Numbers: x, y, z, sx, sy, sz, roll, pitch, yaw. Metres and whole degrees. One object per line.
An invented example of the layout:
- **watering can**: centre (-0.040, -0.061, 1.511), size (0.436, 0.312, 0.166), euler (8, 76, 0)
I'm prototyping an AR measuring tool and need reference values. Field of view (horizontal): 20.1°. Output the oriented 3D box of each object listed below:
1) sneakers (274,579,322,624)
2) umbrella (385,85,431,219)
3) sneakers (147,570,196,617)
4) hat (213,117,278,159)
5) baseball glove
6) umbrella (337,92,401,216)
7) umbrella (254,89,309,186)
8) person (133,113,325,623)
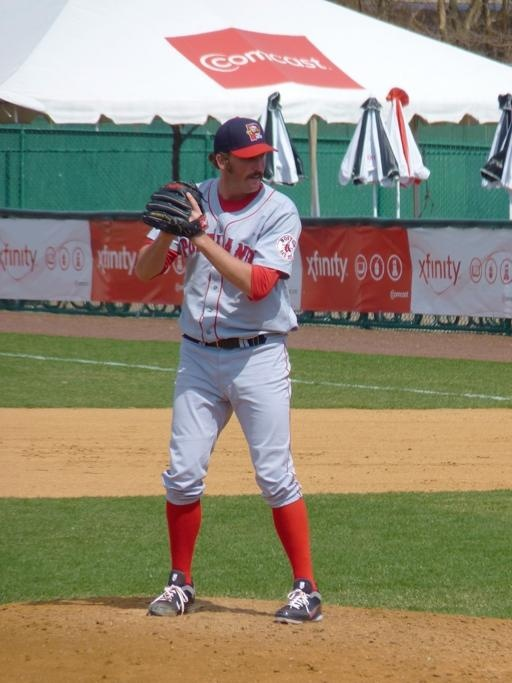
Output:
- **sneakers**: centre (0.202, 1.224, 6.762), size (0.139, 0.175, 0.244), euler (5, 6, 33)
- **umbrella**: centre (1.871, -2.547, 19.122), size (0.818, 1.694, 0.711), euler (2, 8, 28)
- **sneakers**: centre (-0.384, 1.197, 6.866), size (0.154, 0.187, 0.383), euler (3, 6, 23)
- **hat**: centre (-0.060, -0.971, 6.805), size (0.187, 0.143, 0.268), euler (-10, 12, -33)
- **baseball glove**: centre (-0.389, -0.615, 6.770), size (0.225, 0.167, 0.291), euler (-1, 35, 1)
- **umbrella**: centre (1.503, -2.388, 18.630), size (0.715, 1.560, 0.687), euler (0, 8, 4)
- **umbrella**: centre (0.220, -2.565, 18.029), size (0.822, 1.158, 0.557), euler (-5, 23, -14)
- **person**: centre (-0.141, 0.107, 6.879), size (0.809, 2.364, 0.473), euler (0, 6, -6)
